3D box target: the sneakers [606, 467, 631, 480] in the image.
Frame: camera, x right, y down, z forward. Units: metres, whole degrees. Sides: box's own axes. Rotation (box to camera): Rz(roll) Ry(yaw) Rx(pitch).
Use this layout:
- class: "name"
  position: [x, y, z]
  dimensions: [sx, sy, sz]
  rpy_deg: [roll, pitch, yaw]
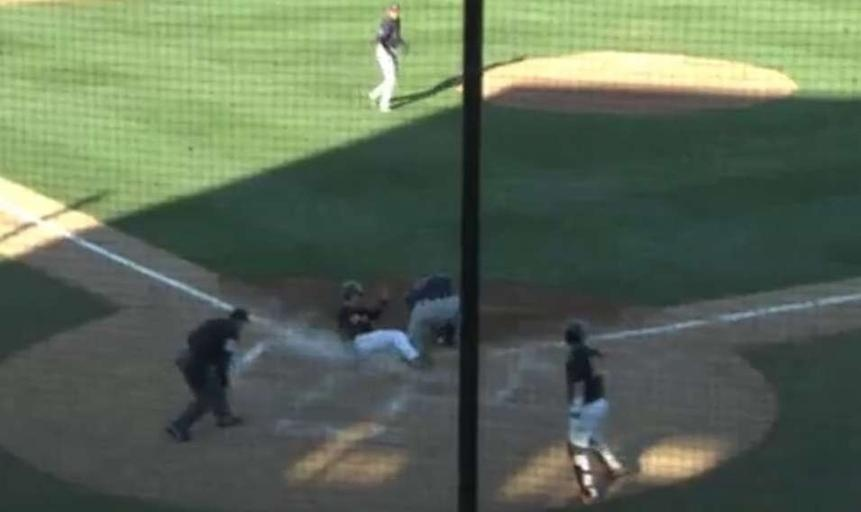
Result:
- class: "sneakers"
  position: [2.354, 2.735, 18.403]
  dimensions: [0.212, 0.062, 0.136]
  rpy_deg: [-11, 20, 1]

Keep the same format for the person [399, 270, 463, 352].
- class: "person"
  position: [0.001, 0.697, 18.709]
  dimensions: [0.814, 0.777, 0.916]
  rpy_deg: [-1, 17, 3]

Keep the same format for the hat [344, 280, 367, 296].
- class: "hat"
  position: [-1.026, 0.398, 18.751]
  dimensions: [0.202, 0.064, 0.179]
  rpy_deg: [1, 79, -6]

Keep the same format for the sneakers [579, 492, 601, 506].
- class: "sneakers"
  position: [2.000, 3.053, 18.354]
  dimensions: [0.253, 0.062, 0.126]
  rpy_deg: [-8, 62, -2]

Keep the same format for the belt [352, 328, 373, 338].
- class: "belt"
  position: [-0.893, 0.954, 18.709]
  dimensions: [0.187, 0.141, 0.048]
  rpy_deg: [-33, 105, -3]
